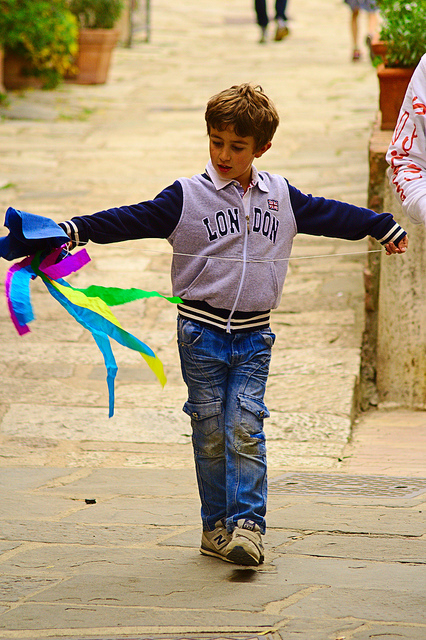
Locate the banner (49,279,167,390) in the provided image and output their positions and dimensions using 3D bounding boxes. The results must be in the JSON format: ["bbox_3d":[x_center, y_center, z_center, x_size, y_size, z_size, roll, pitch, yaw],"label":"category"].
[{"bbox_3d":[-0.468,0.093,4.753,0.725,0.091,0.149,43,47,13],"label":"banner"}]

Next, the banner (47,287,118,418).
[{"bbox_3d":[-0.389,0.107,3.232,0.203,0.408,0.387,1,7,-7],"label":"banner"}]

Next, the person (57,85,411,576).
[{"bbox_3d":[0.071,0.019,3.159,0.973,1.383,0.413,-3,9,-33],"label":"person"}]

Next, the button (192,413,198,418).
[{"bbox_3d":[-0.051,0.277,3.181,0.021,0.013,0.002,7,9,40],"label":"button"}]

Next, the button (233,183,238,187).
[{"bbox_3d":[0.067,-0.391,3.140,0.010,0.009,0.002,20,1,-13],"label":"button"}]

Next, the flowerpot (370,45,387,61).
[{"bbox_3d":[0.915,-1.462,5.923,0.109,0.069,0.104,-3,12,-12],"label":"flowerpot"}]

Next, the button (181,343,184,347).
[{"bbox_3d":[-0.088,0.071,3.173,0.007,0.008,0.003,-1,-2,20],"label":"button"}]

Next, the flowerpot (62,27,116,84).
[{"bbox_3d":[-0.347,-0.779,3.274,0.181,0.145,0.148,10,2,26],"label":"flowerpot"}]

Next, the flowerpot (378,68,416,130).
[{"bbox_3d":[0.940,-1.155,5.640,0.160,0.310,0.330,1,7,-5],"label":"flowerpot"}]
